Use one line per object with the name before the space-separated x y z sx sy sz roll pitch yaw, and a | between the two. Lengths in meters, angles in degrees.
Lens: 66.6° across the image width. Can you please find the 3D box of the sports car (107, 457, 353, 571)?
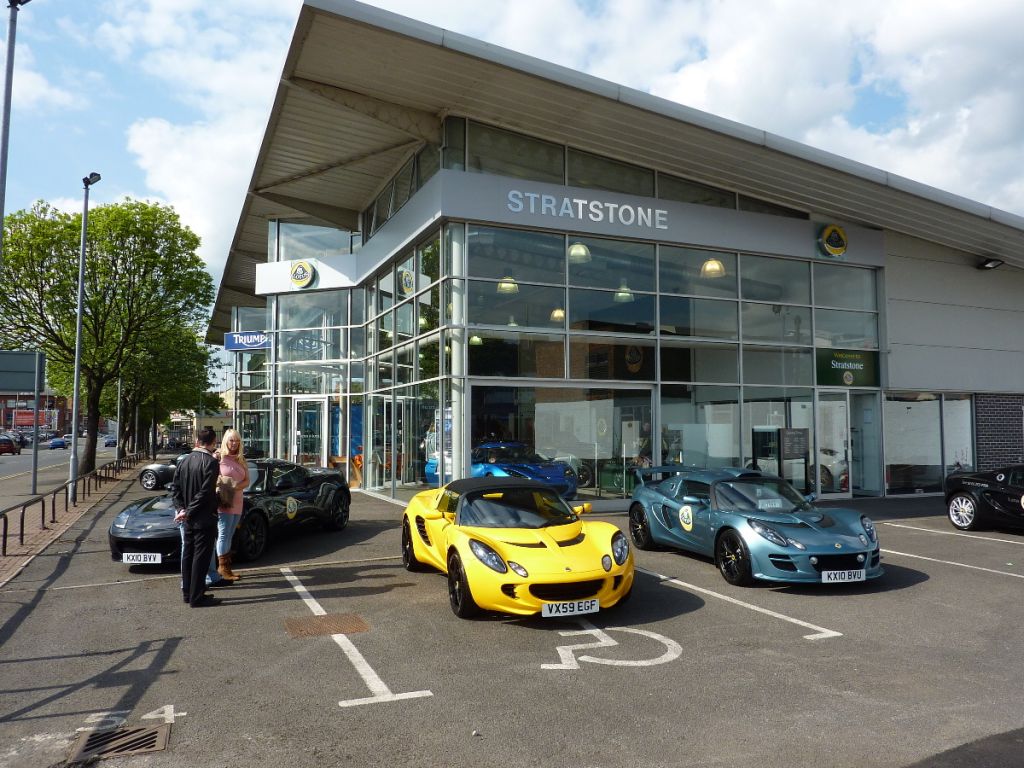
sports car | -4.272 2.122 12.649 1.753 0.974 3.266 -4 -10 18

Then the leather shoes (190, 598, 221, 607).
leather shoes | -3.738 2.684 9.680 0.315 0.123 0.112 0 0 -27

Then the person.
person | -3.915 1.630 10.090 0.682 2.164 1.219 -1 5 -14

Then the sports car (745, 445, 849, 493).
sports car | 7.057 2.197 19.286 2.834 0.864 1.737 -1 -1 -2

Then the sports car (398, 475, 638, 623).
sports car | -0.105 1.974 9.921 1.439 0.889 2.656 1 -4 -22

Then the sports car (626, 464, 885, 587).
sports car | 3.237 1.958 11.375 1.566 0.915 3.039 2 -6 -19

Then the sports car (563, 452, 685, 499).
sports car | 2.321 2.110 16.749 2.027 0.620 1.139 -2 -1 -9

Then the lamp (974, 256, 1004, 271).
lamp | 12.922 -3.271 21.350 0.363 0.316 0.851 -5 7 -6
